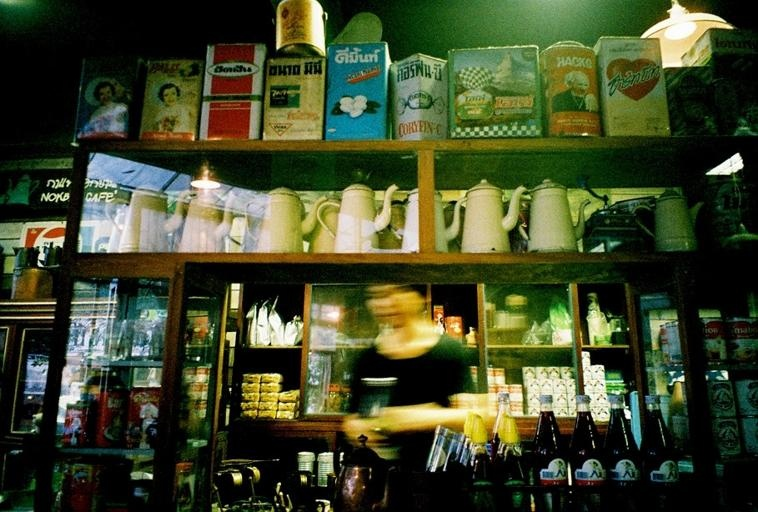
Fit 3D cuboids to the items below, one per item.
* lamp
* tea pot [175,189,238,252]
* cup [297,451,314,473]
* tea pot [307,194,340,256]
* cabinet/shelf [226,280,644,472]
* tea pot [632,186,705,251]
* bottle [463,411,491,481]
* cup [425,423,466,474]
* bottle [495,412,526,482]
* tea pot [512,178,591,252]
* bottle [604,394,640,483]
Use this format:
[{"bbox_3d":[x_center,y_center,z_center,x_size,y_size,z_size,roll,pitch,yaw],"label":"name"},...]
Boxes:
[{"bbox_3d":[1.790,-1.307,3.758,0.451,0.380,0.217,2,4,17],"label":"lamp"},{"bbox_3d":[-0.898,-0.170,3.368,0.218,0.332,0.196,23,-24,-33],"label":"tea pot"},{"bbox_3d":[-0.536,1.543,4.842,0.139,0.113,0.135,1,-6,0],"label":"cup"},{"bbox_3d":[-0.280,-0.149,3.351,0.169,0.261,0.271,9,-13,-19],"label":"tea pot"},{"bbox_3d":[0.404,0.850,4.509,1.859,1.479,0.527,0,-22,-1],"label":"cabinet/shelf"},{"bbox_3d":[1.476,-0.184,3.277,0.164,0.307,0.221,-4,6,-44],"label":"tea pot"},{"bbox_3d":[0.481,0.916,3.123,0.130,0.257,0.246,1,4,7],"label":"bottle"},{"bbox_3d":[0.328,0.943,3.127,0.185,0.207,0.114,4,5,39],"label":"cup"},{"bbox_3d":[0.647,0.928,3.168,0.142,0.290,0.296,1,4,10],"label":"bottle"},{"bbox_3d":[0.884,-0.201,3.280,0.443,0.374,0.263,-2,-7,-6],"label":"tea pot"},{"bbox_3d":[1.173,0.866,3.108,0.162,0.395,0.189,1,4,18],"label":"bottle"}]
